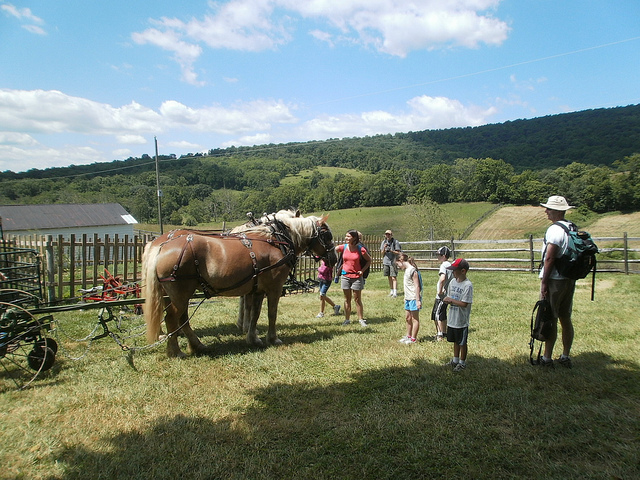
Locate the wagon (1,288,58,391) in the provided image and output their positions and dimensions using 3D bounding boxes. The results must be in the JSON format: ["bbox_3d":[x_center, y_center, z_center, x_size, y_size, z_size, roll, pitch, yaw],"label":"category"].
[{"bbox_3d":[-4.742,1.461,7.514,0.814,1.470,1.620,-5,11,-30],"label":"wagon"}]

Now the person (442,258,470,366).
[{"bbox_3d":[2.260,1.199,7.824,0.421,1.735,0.458,4,10,14],"label":"person"}]

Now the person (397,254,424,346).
[{"bbox_3d":[1.785,1.194,9.407,0.517,1.653,0.958,3,10,9],"label":"person"}]

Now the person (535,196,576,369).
[{"bbox_3d":[3.735,0.695,7.564,0.737,2.697,1.074,-1,-8,40],"label":"person"}]

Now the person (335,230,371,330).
[{"bbox_3d":[0.776,0.913,10.624,0.680,2.249,0.990,2,10,3],"label":"person"}]

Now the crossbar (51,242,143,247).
[{"bbox_3d":[-5.671,0.107,11.918,1.690,0.082,0.088,2,1,-22],"label":"crossbar"}]

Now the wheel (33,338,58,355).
[{"bbox_3d":[-4.462,1.731,7.556,0.342,0.333,0.089,11,14,16],"label":"wheel"}]
